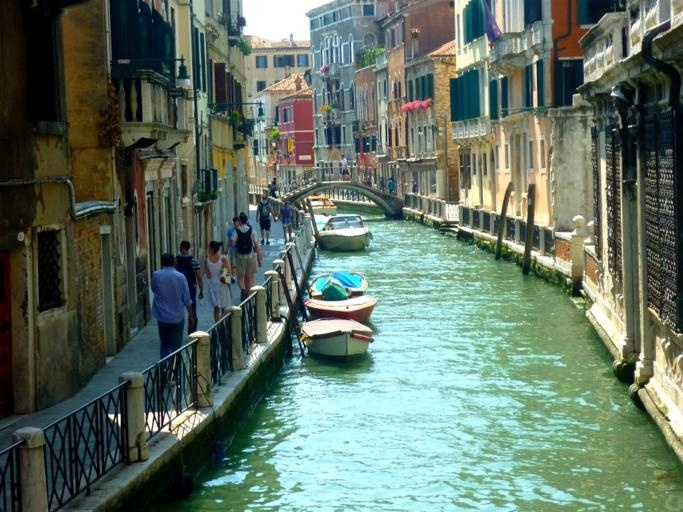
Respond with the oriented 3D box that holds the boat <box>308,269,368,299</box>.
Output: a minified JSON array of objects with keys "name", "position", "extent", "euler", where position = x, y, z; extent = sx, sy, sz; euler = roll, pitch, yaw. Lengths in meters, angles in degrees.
[{"name":"boat","position":[-0.117,0.850,26.521],"extent":[1.539,0.599,2.993],"euler":[-2,7,0]}]

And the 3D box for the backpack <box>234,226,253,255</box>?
[{"name":"backpack","position":[-2.299,-0.343,22.427],"extent":[0.424,0.664,0.477],"euler":[-2,6,-7]}]

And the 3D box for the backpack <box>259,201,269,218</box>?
[{"name":"backpack","position":[-3.177,-1.863,38.686],"extent":[0.430,0.779,0.408],"euler":[3,-33,-5]}]

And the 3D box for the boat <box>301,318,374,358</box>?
[{"name":"boat","position":[-0.109,1.899,21.258],"extent":[1.800,0.738,1.020],"euler":[4,9,36]}]

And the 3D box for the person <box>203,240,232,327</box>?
[{"name":"person","position":[-2.523,0.579,19.638],"extent":[0.488,1.810,2.216],"euler":[-2,7,-7]}]

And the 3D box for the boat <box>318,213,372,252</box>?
[{"name":"boat","position":[0.149,-0.972,44.492],"extent":[1.695,1.584,2.814],"euler":[-6,8,-35]}]

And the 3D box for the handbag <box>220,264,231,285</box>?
[{"name":"handbag","position":[-2.379,0.386,19.352],"extent":[0.095,0.379,0.326],"euler":[-4,-6,12]}]
